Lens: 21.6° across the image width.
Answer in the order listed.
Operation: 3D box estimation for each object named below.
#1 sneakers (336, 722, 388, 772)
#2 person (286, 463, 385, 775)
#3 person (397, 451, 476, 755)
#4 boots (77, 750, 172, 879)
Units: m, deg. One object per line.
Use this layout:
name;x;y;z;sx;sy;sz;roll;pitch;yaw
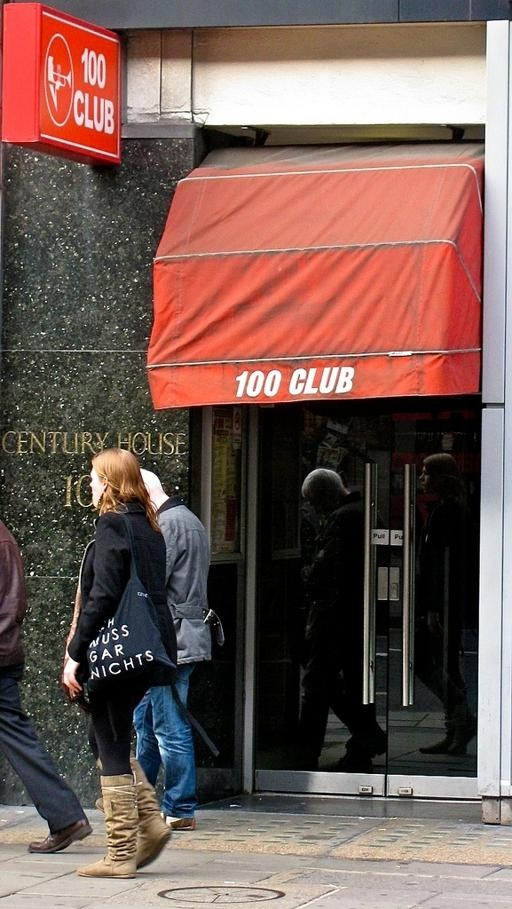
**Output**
sneakers;0.525;1.518;6.915;0.183;0.277;0.075;13;-4;40
person;0.444;0.871;7.055;0.473;1.541;0.322;-1;-12;9
person;0.968;0.770;6.857;0.301;1.490;0.317;0;-12;8
boots;-0.529;1.369;5.097;0.399;0.543;0.294;-2;-1;20
